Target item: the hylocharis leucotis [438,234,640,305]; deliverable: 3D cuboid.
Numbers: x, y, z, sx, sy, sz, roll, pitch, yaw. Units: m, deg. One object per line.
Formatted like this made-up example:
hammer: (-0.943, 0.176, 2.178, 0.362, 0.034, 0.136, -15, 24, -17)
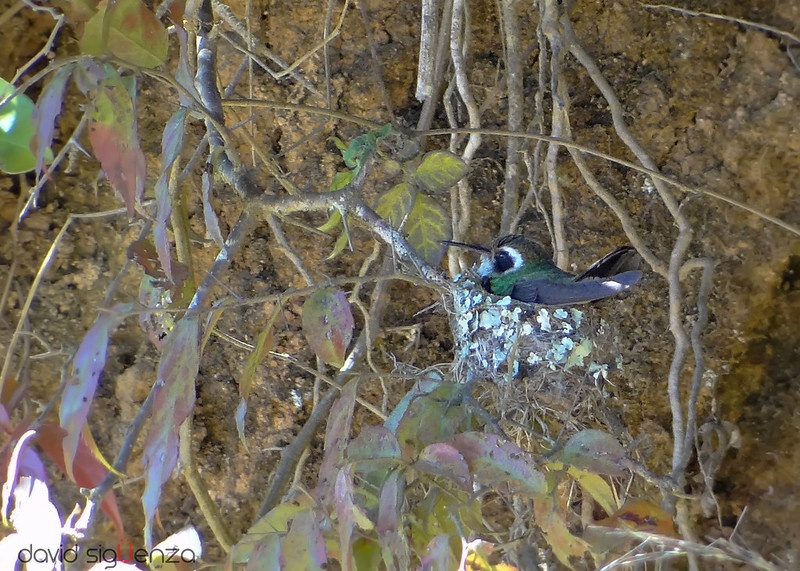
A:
hylocharis leucotis: (0.359, -0.031, 2.686, 0.542, 0.213, 0.198, 6, 1, 16)
